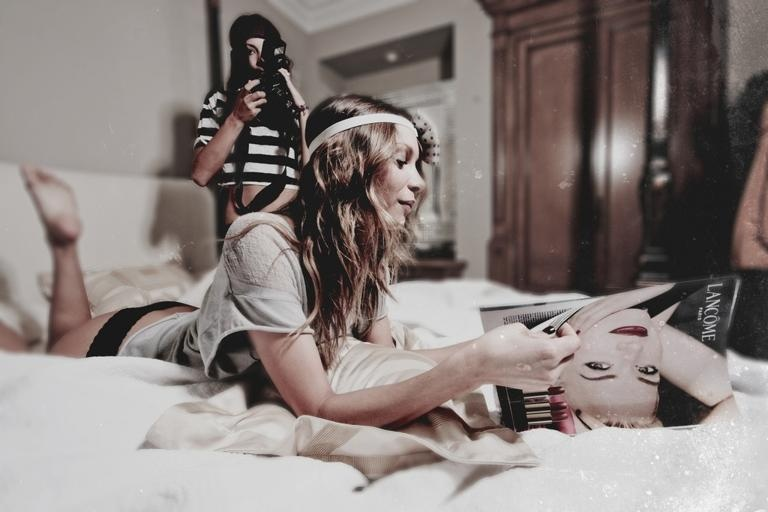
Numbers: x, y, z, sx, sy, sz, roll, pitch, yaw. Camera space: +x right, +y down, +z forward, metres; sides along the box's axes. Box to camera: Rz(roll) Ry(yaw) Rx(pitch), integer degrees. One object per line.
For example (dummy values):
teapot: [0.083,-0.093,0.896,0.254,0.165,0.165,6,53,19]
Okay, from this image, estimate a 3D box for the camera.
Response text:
camera: [-0.363,-0.572,2.515,0.154,0.279,0.097,-10,2,9]

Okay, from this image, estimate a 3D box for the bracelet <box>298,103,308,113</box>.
bracelet: [-0.283,-0.504,2.506,0.027,0.029,0.007,8,-4,-5]
